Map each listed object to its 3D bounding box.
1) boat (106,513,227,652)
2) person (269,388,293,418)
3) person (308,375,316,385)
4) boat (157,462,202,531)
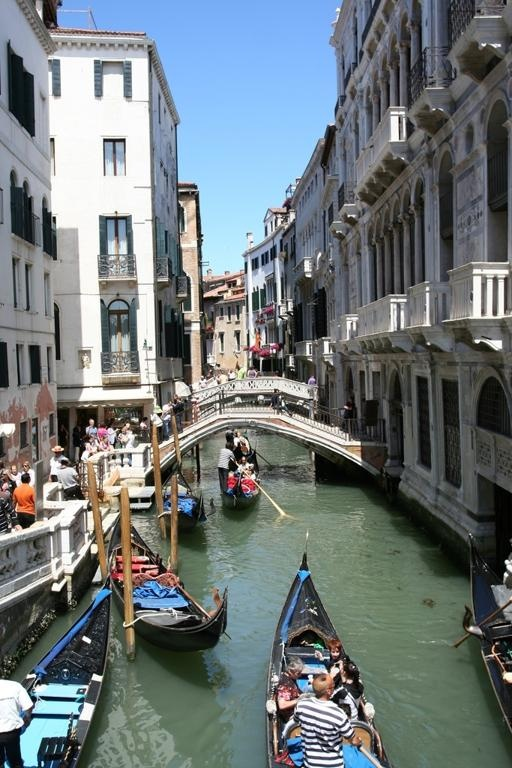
[{"bbox_3d":[-1.741,3.323,11.106,0.890,1.935,5.085,0,0,-16],"label":"boat"},{"bbox_3d":[0.865,0.646,23.223,0.462,0.469,0.768,-5,20,-32],"label":"person"},{"bbox_3d":[2.777,-0.192,33.087,0.457,0.440,1.146,-3,1,-1],"label":"person"},{"bbox_3d":[-1.934,3.312,18.718,0.858,1.045,2.814,-2,11,-2],"label":"boat"}]
